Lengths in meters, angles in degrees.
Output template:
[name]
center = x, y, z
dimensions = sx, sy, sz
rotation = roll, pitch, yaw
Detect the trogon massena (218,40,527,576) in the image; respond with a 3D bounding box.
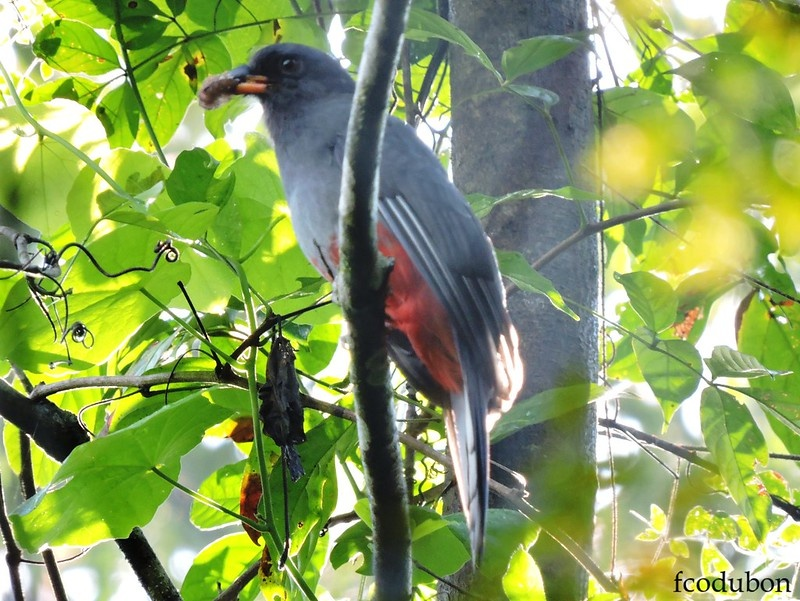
[trogon massena]
center = -0.106, -0.195, 3.273
dimensions = 1.153, 0.916, 1.729
rotation = 2, -79, 4
